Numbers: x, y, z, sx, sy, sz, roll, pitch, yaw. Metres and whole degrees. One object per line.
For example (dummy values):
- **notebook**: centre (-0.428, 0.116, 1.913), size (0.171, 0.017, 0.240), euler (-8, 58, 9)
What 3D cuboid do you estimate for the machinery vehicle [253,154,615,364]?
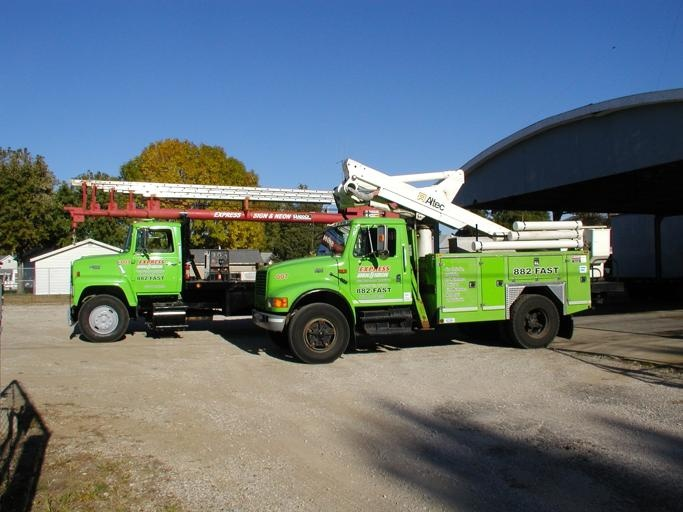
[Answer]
- **machinery vehicle**: centre (2.144, 0.299, 13.890), size (8.481, 5.550, 3.957), euler (3, -5, -14)
